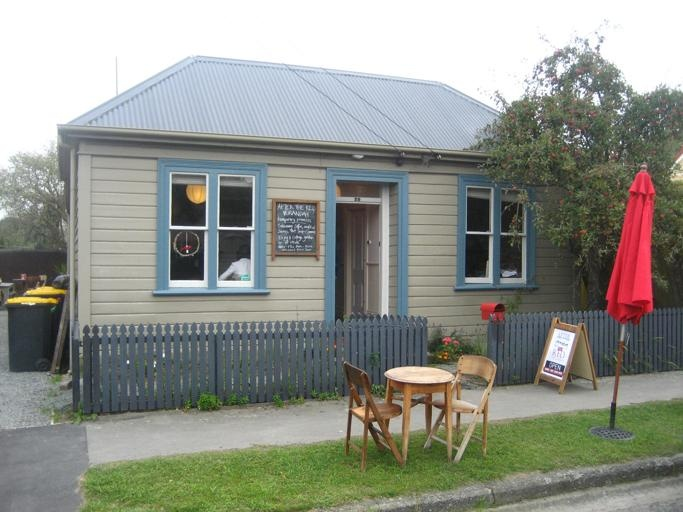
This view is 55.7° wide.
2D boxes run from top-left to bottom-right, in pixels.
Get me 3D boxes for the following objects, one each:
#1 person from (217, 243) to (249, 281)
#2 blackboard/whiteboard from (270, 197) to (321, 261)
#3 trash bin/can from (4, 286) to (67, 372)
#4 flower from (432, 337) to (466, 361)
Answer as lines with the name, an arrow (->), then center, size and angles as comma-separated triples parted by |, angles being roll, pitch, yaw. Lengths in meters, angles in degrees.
person -> -2.090, 0.123, 12.272 | 0.455, 0.885, 0.268 | 13, -2, -16
blackboard/whiteboard -> -0.933, -0.521, 12.461 | 1.051, 1.429, 0.102 | 1, -3, -21
trash bin/can -> -6.069, 1.433, 12.768 | 0.779, 1.401, 1.306 | -2, 8, -15
flower -> 2.102, 1.839, 12.732 | 0.441, 0.547, 0.499 | 10, 15, 24
